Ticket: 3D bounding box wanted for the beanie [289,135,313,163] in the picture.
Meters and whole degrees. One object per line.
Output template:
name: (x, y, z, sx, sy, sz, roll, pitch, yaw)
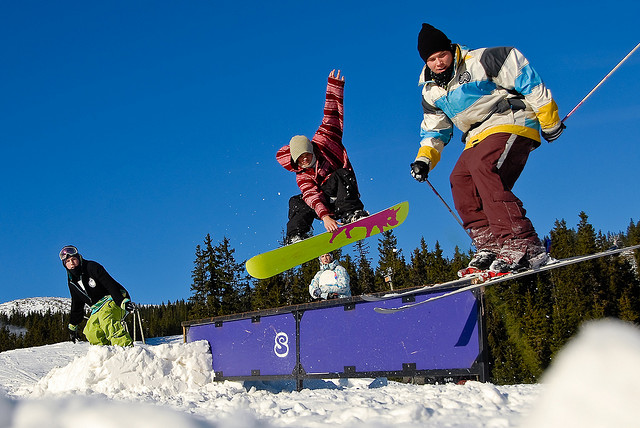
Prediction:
beanie: (-0.385, -1.233, 11.658, 0.401, 0.484, 0.545, -15, -5, -9)
